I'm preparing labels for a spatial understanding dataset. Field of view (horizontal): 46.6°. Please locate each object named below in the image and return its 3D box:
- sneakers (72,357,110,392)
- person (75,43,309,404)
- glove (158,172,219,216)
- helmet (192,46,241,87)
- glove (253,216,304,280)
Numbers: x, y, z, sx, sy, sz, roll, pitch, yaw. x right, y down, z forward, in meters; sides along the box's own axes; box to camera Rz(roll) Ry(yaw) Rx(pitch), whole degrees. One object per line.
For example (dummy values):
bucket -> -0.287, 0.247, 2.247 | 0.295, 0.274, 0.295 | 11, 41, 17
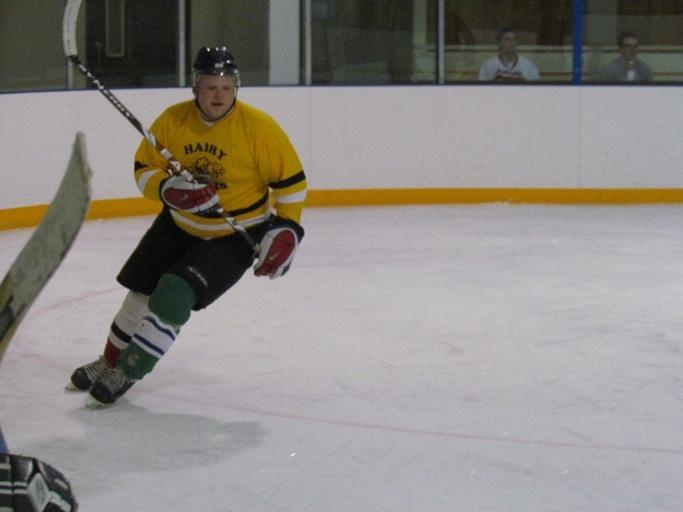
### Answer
sneakers -> -0.909, 0.412, 2.809 | 0.072, 0.093, 0.220 | 37, -3, -11
person -> -0.490, -0.087, 2.784 | 0.685, 1.222, 0.572 | 12, -1, -10
glove -> -0.574, -0.205, 2.628 | 0.233, 0.110, 0.165 | -3, 9, -21
helmet -> -0.433, -0.618, 2.713 | 0.162, 0.194, 0.196 | -2, 2, -14
glove -> -0.219, -0.028, 2.711 | 0.162, 0.214, 0.090 | 27, -9, -36
